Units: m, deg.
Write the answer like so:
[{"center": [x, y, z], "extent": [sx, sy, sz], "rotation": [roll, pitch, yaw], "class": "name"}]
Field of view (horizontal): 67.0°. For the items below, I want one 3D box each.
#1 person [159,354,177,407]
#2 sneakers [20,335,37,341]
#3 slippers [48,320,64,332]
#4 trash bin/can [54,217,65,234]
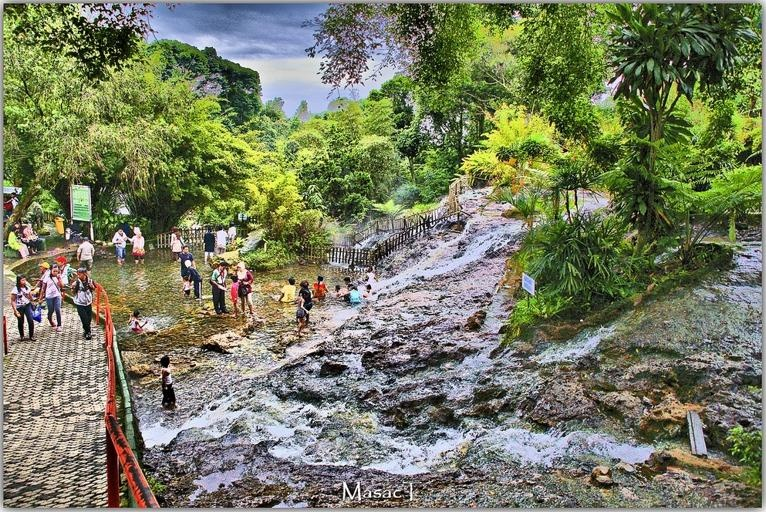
[{"center": [-4.240, 2.429, 11.382], "extent": [0.254, 1.043, 0.699], "rotation": [-4, 6, -21], "class": "person"}, {"center": [-7.183, 1.679, 11.678], "extent": [0.325, 0.138, 0.106], "rotation": [-7, 38, -3], "class": "sneakers"}, {"center": [-6.875, 1.492, 12.145], "extent": [0.376, 0.161, 0.125], "rotation": [6, 11, 28], "class": "slippers"}, {"center": [-6.886, -0.651, 12.305], "extent": [0.176, 0.387, 0.113], "rotation": [-5, 6, -29], "class": "trash bin/can"}]
